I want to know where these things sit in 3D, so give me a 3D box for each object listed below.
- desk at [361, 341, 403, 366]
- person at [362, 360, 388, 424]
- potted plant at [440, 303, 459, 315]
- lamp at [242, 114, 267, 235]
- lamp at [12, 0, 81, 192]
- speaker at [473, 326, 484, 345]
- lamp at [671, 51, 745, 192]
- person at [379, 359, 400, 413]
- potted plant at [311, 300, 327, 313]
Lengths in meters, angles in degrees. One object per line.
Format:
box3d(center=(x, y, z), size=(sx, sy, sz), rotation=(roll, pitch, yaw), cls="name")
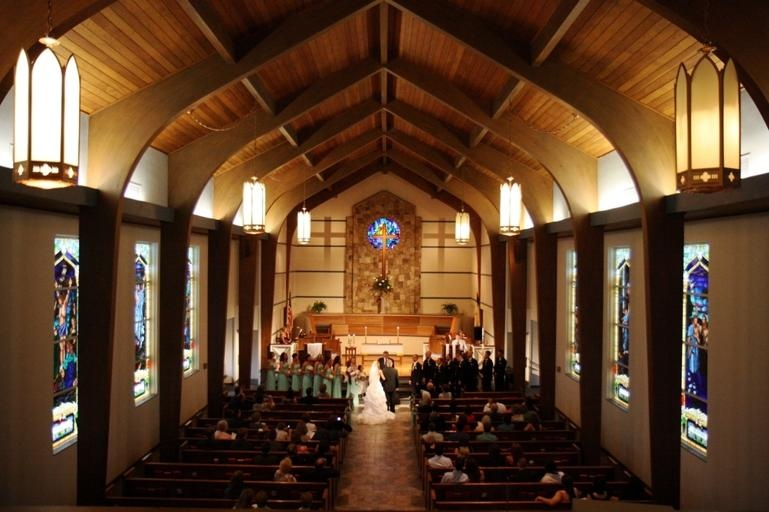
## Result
box3d(center=(-0.072, 3.879, 22.883), size=(1.878, 1.159, 1.344), rotation=(0, 0, 0), cls="desk")
box3d(center=(-0.269, 3.728, 16.845), size=(0.824, 1.619, 0.918), rotation=(-3, -8, 44), cls="person")
box3d(center=(2.755, 2.170, 25.042), size=(0.429, 0.337, 0.452), rotation=(0, -6, 26), cls="potted plant")
box3d(center=(-2.598, -1.057, 12.321), size=(0.452, 1.160, 0.897), rotation=(3, -4, -14), cls="lamp")
box3d(center=(-3.743, -1.557, 6.810), size=(0.667, 1.533, 0.281), rotation=(4, -4, -28), cls="lamp")
box3d(center=(3.348, 2.793, 21.679), size=(0.464, 0.919, 0.497), rotation=(1, -2, 10), cls="speaker")
box3d(center=(3.793, -1.575, 7.164), size=(0.678, 1.629, 0.338), rotation=(0, -4, 23), cls="lamp")
box3d(center=(0.179, 3.697, 17.629), size=(0.505, 1.515, 0.422), rotation=(1, 5, -1), cls="person")
box3d(center=(-2.658, 2.088, 25.228), size=(0.432, 0.346, 0.455), rotation=(-2, -8, 22), cls="potted plant")
